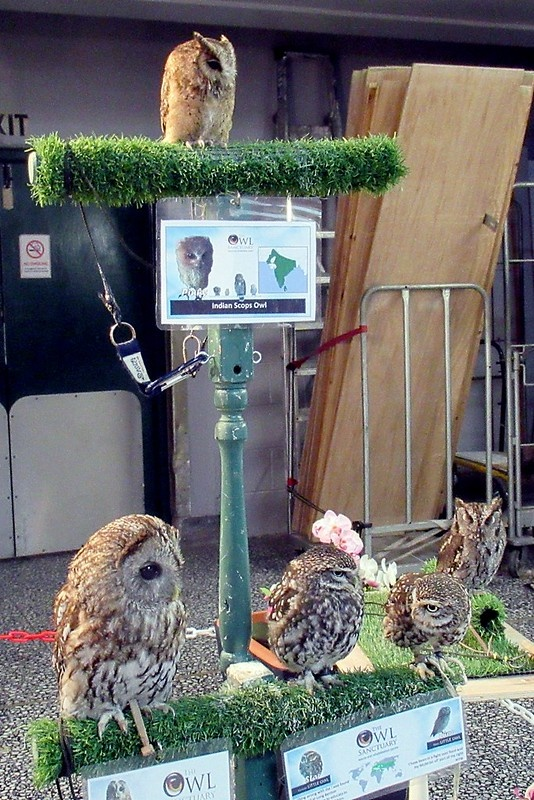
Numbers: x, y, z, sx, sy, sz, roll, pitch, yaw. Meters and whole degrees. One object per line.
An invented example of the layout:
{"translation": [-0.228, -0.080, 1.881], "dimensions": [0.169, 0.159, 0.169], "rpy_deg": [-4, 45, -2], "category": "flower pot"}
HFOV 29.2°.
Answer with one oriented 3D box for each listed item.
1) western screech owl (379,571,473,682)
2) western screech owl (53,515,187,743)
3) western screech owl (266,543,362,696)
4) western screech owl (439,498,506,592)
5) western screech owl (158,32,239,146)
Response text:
{"translation": [0.325, 0.434, 2.081], "dimensions": [0.165, 0.215, 0.230], "rpy_deg": [2, 16, -3], "category": "western screech owl"}
{"translation": [-0.261, 0.383, 1.812], "dimensions": [0.237, 0.398, 0.281], "rpy_deg": [-2, 8, -27], "category": "western screech owl"}
{"translation": [0.086, 0.415, 1.981], "dimensions": [0.195, 0.288, 0.206], "rpy_deg": [2, -1, -36], "category": "western screech owl"}
{"translation": [0.559, 0.401, 2.784], "dimensions": [0.184, 0.261, 0.178], "rpy_deg": [-1, 2, -27], "category": "western screech owl"}
{"translation": [-0.164, -0.719, 2.372], "dimensions": [0.166, 0.266, 0.164], "rpy_deg": [6, 5, -1], "category": "western screech owl"}
